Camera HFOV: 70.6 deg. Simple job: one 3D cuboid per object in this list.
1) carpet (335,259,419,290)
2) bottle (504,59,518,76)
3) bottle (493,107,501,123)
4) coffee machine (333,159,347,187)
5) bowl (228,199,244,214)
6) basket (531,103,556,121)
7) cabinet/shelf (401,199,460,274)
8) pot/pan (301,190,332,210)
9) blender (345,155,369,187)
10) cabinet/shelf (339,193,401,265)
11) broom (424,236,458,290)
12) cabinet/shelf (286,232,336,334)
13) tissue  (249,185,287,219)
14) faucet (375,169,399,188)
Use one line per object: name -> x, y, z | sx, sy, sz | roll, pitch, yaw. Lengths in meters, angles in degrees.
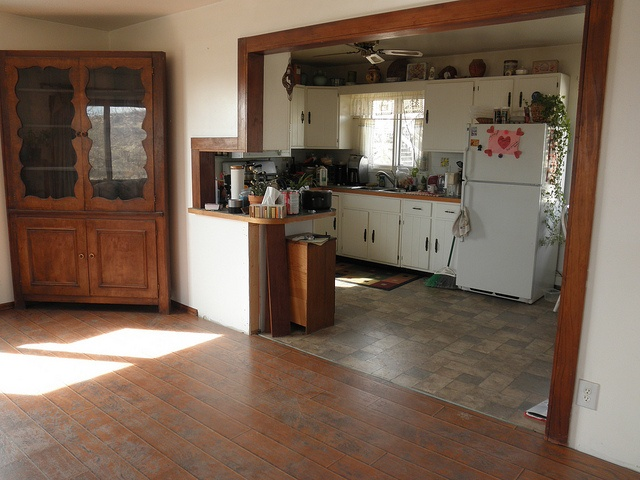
carpet -> 0.649, 0.478, 6.289 | 1.272, 0.046, 0.963 | 8, 14, 34
bottle -> 2.430, -2.179, 5.728 | 0.164, 0.211, 0.173 | 1, 12, 0
bottle -> 2.106, -1.450, 5.314 | 0.090, 0.177, 0.217 | 4, 13, 17
coffee machine -> 0.323, -1.054, 7.240 | 0.233, 0.320, 0.256 | 1, 12, 1
bowl -> -0.804, -0.315, 4.319 | 0.141, 0.130, 0.134 | 2, 11, 0
basket -> 2.533, -1.427, 5.120 | 0.214, 0.151, 0.218 | -8, 12, -36
cabinet/shelf -> 1.501, -0.076, 6.004 | 0.977, 1.062, 0.580 | 5, 8, 35
pot/pan -> -0.026, -0.410, 4.476 | 0.219, 0.136, 0.232 | 6, 9, 28
blender -> 0.607, -1.109, 7.187 | 0.348, 0.448, 0.332 | -4, 13, -21
cabinet/shelf -> 0.763, -0.187, 6.526 | 1.034, 0.885, 0.396 | 6, 9, 34
broom -> 1.594, 0.285, 5.815 | 0.383, 0.639, 0.302 | 4, 13, 15
cabinet/shelf -> -0.089, 0.416, 4.407 | 0.352, 0.906, 0.419 | 9, 15, 34
tissue  -> -0.442, -0.342, 4.159 | 0.387, 0.341, 0.297 | 5, 10, 24
faucet -> 1.029, -0.918, 6.955 | 0.334, 0.365, 0.244 | -2, 7, -22
